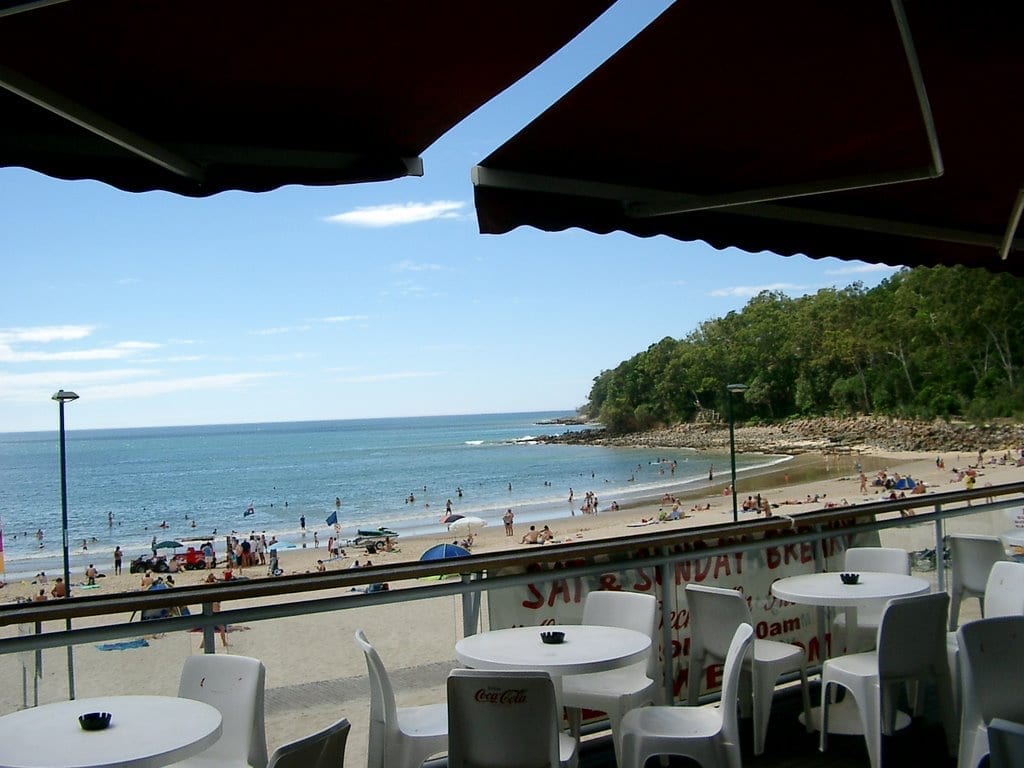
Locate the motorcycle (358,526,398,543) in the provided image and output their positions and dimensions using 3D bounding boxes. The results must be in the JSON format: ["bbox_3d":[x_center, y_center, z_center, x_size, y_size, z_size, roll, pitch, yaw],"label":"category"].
[{"bbox_3d":[-9.142,10.447,56.351,1.773,0.475,1.253,-1,1,-35],"label":"motorcycle"}]
